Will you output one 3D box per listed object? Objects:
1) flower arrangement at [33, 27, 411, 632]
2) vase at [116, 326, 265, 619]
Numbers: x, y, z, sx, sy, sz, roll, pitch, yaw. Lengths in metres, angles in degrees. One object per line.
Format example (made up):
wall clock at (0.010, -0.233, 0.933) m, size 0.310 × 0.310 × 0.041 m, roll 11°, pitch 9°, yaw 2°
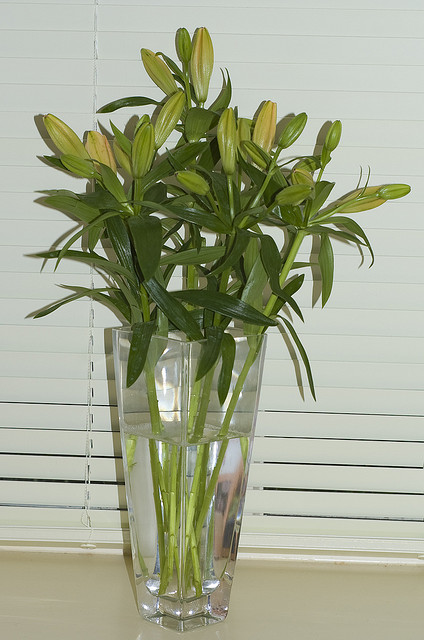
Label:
flower arrangement at (-0.029, -0.003, 0.870) m, size 0.435 × 0.846 × 0.481 m, roll 1°, pitch 6°, yaw -16°
vase at (-0.036, 0.210, 0.805) m, size 0.148 × 0.418 × 0.132 m, roll 7°, pitch 7°, yaw 36°
